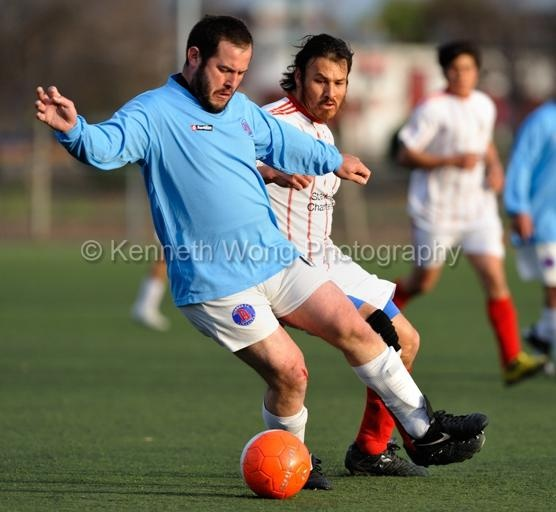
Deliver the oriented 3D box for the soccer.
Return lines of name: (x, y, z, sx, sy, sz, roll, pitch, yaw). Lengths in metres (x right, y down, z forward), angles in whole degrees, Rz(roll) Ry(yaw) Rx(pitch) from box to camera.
soccer: (0.001, 1.009, 4.871, 0.309, 0.287, 0.287, -1, 18, -6)
